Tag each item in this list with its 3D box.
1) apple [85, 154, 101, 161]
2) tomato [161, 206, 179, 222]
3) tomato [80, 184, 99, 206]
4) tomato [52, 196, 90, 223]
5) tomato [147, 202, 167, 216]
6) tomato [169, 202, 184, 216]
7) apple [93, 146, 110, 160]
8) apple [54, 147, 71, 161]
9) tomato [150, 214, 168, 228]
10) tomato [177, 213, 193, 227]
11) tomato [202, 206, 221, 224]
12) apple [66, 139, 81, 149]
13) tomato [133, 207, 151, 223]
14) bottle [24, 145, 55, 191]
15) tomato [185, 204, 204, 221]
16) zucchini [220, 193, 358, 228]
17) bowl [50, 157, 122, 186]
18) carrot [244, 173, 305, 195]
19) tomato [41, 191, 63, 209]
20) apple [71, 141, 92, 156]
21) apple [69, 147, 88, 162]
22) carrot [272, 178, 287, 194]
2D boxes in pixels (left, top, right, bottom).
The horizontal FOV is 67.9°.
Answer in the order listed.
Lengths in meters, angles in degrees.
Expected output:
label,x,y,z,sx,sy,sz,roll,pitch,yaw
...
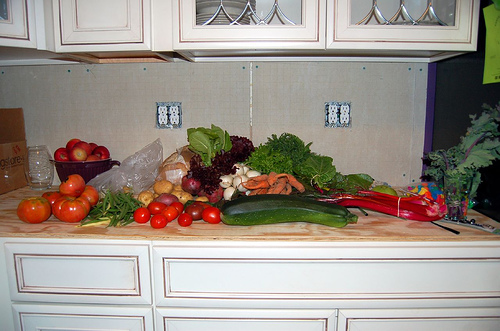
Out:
label,x,y,z,sx,sy,sz,roll,pitch,yaw
apple,-0.942,-0.043,2.213,0.049,0.038,0.040,-5,-9,10
tomato,-0.390,0.238,1.815,0.078,0.066,0.071,-8,-6,2
tomato,-0.820,0.154,1.908,0.095,0.089,0.088,-21,-1,-17
tomato,-0.866,0.188,1.839,0.173,0.114,0.203,-7,13,-33
tomato,-0.464,0.215,1.832,0.077,0.041,0.056,4,5,17
tomato,-0.366,0.217,1.843,0.059,0.054,0.056,2,-19,-22
apple,-0.908,-0.078,2.262,0.084,0.072,0.081,3,-12,-1
apple,-1.130,-0.067,2.231,0.089,0.078,0.085,4,4,-14
tomato,-0.433,0.265,1.750,0.066,0.046,0.059,-1,46,-2
tomato,-0.312,0.260,1.771,0.065,0.057,0.062,2,-2,-7
tomato,-0.190,0.241,1.796,0.100,0.067,0.053,2,-16,11
apple,-1.094,-0.144,2.309,0.064,0.068,0.067,44,-4,-36
tomato,-0.528,0.241,1.803,0.076,0.067,0.071,-3,8,7
bottle,-1.367,0.016,2.367,0.202,0.255,0.196,-2,0,0
tomato,-0.271,0.226,1.817,0.081,0.056,0.074,-1,4,2
zucchini,0.181,0.217,1.790,0.649,0.147,0.139,0,5,2
bowl,-0.985,0.025,2.223,0.316,0.119,0.210,0,0,-19
carrot,0.143,0.082,1.931,0.291,0.094,0.148,-6,23,22
tomato,-1.014,0.175,1.895,0.078,0.071,0.074,-9,-3,-20
apple,-1.001,-0.106,2.198,0.087,0.082,0.084,6,6,-34
apple,-1.019,-0.065,2.194,0.102,0.085,0.053,-2,5,-21
carrot,0.151,0.105,1.868,0.046,0.022,0.081,19,54,17
